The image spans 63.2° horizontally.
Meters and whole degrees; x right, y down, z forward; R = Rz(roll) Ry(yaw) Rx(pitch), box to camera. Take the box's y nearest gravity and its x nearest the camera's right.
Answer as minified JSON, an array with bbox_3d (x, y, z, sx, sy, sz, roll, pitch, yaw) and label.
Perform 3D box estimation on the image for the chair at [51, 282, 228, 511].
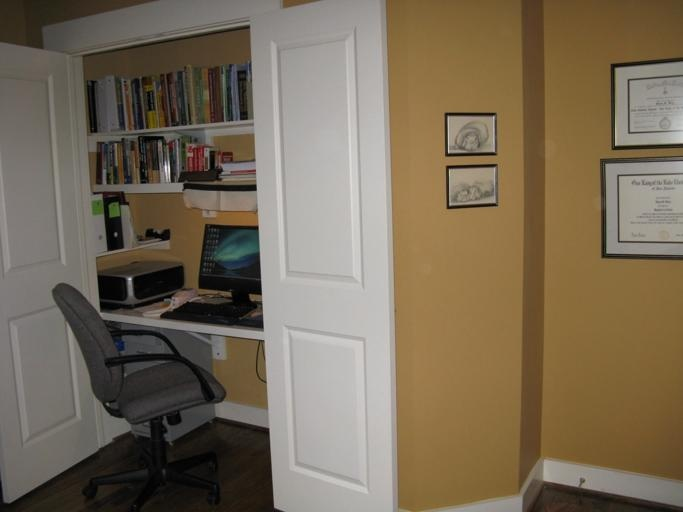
[{"bbox_3d":[-1.306,0.787,3.922,1.146,1.874,1.178,-3,7,-25],"label":"chair"}]

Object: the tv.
[{"bbox_3d":[-0.735,0.081,3.710,0.517,0.552,0.177,-1,-4,22],"label":"tv"}]
